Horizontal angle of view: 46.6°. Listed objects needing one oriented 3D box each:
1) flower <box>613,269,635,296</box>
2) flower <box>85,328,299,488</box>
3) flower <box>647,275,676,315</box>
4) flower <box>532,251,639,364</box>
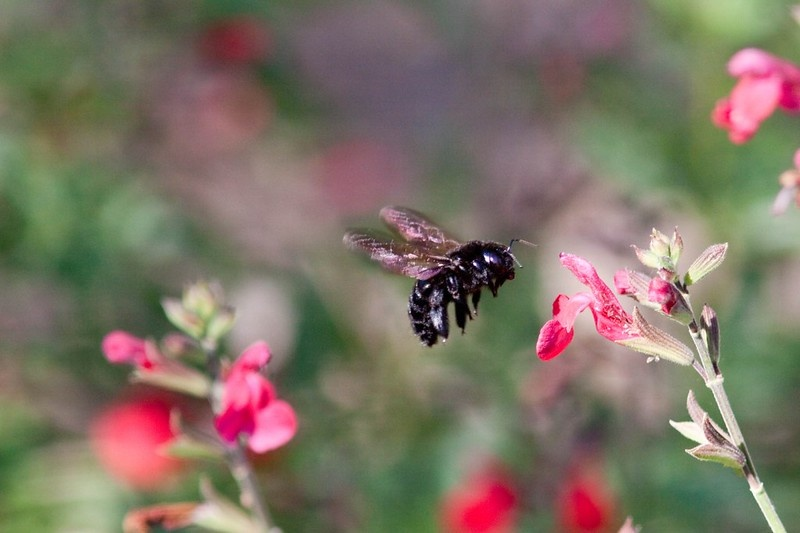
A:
[{"bbox_3d":[0.580,0.040,2.399,0.039,0.097,0.075,-7,68,1],"label":"flower"},{"bbox_3d":[-0.594,0.430,2.696,0.602,0.206,0.433,-16,50,-17],"label":"flower"},{"bbox_3d":[0.664,0.066,2.334,0.082,0.043,0.064,31,73,14],"label":"flower"},{"bbox_3d":[0.477,0.111,2.521,0.125,0.255,0.282,-20,37,-30],"label":"flower"}]
